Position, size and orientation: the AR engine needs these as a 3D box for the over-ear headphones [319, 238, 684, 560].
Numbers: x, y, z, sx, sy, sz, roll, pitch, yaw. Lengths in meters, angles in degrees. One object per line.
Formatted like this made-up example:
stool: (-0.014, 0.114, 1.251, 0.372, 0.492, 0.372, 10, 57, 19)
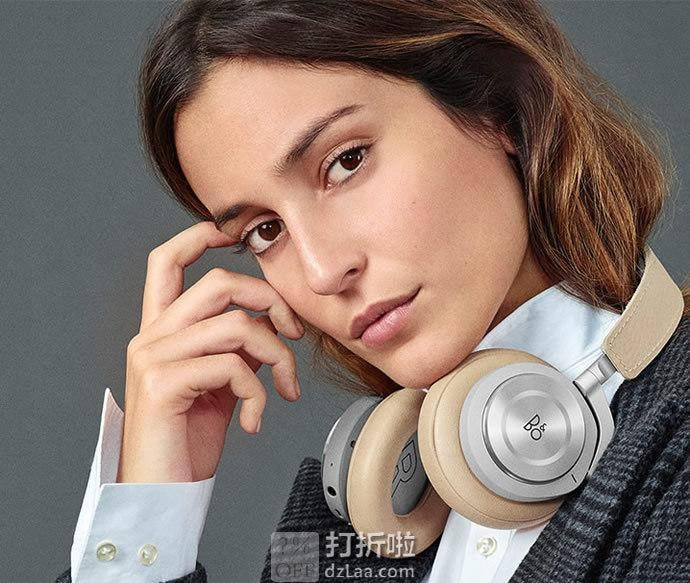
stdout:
over-ear headphones: (0.258, 0.152, 1.094, 0.510, 0.612, 0.237, -29, 89, 34)
